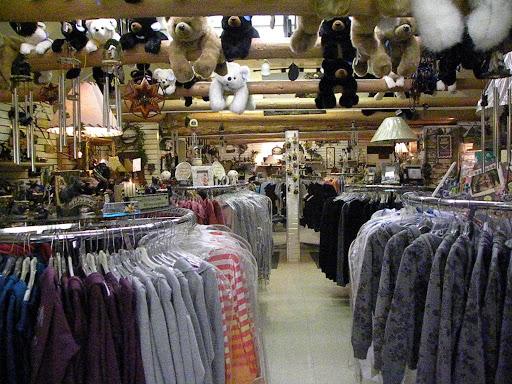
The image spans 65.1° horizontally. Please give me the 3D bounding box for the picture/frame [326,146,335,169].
[{"bbox_3d":[2.399,-1.109,13.032,0.324,0.731,0.243,0,6,13],"label":"picture/frame"}]

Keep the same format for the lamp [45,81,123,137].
[{"bbox_3d":[-1.887,-0.945,4.367,0.706,0.555,0.733,1,4,-14],"label":"lamp"}]

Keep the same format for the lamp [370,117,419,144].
[{"bbox_3d":[2.080,-0.918,6.087,0.523,0.276,0.537,-3,0,41],"label":"lamp"}]

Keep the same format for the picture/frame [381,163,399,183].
[{"bbox_3d":[1.740,-0.242,5.213,0.244,0.346,0.044,-3,-28,23],"label":"picture/frame"}]

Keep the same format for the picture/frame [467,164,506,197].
[{"bbox_3d":[1.559,-0.071,2.717,0.022,0.213,0.213,14,-17,-23],"label":"picture/frame"}]

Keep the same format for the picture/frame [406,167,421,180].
[{"bbox_3d":[1.952,-0.228,4.980,0.151,0.153,0.037,2,-10,19],"label":"picture/frame"}]

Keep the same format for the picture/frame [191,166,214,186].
[{"bbox_3d":[-0.636,-0.188,4.770,0.227,0.245,0.238,0,-1,-18],"label":"picture/frame"}]
